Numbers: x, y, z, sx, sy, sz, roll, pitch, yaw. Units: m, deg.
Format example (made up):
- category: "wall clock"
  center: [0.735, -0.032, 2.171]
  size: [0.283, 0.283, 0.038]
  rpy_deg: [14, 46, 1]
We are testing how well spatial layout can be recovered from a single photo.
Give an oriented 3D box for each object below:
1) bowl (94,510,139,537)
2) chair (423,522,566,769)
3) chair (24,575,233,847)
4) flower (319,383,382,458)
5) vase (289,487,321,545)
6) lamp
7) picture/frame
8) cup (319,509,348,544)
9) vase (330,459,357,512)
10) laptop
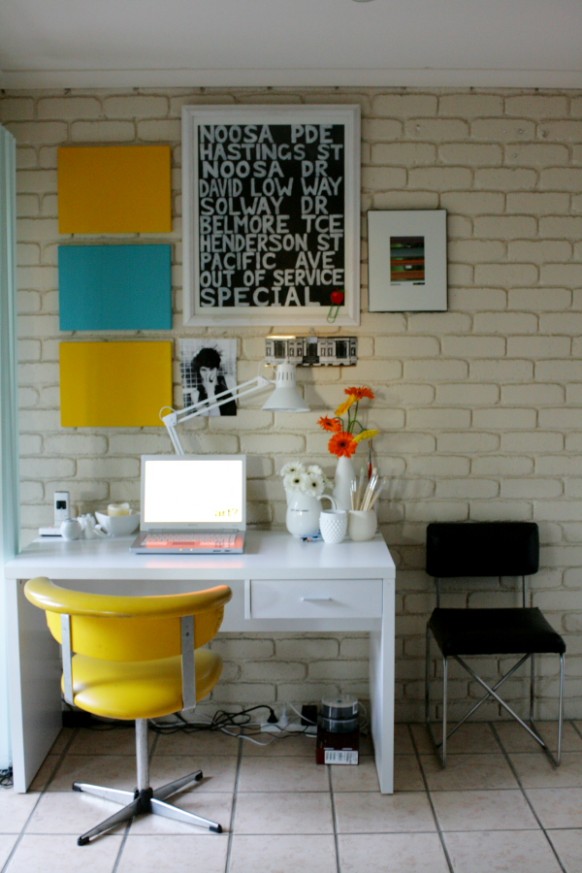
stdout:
- category: "bowl"
  center: [-0.599, 0.299, 3.034]
  size: [0.099, 0.050, 0.099]
  rpy_deg: [0, 0, 0]
- category: "chair"
  center: [0.731, 0.687, 3.013]
  size: [0.526, 0.740, 0.441]
  rpy_deg: [0, 10, -2]
- category: "chair"
  center: [-0.411, 0.732, 2.463]
  size: [0.520, 0.648, 0.534]
  rpy_deg: [-1, 1, 27]
- category: "flower"
  center: [0.192, -0.036, 3.057]
  size: [0.207, 0.255, 0.202]
  rpy_deg: [1, 10, 3]
- category: "vase"
  center: [0.042, 0.269, 2.959]
  size: [0.126, 0.155, 0.164]
  rpy_deg: [1, 4, -12]
- category: "lamp"
  center: [-0.200, -0.087, 3.032]
  size: [0.509, 0.329, 0.259]
  rpy_deg: [0, 10, -2]
- category: "picture/frame"
  center: [-0.075, -0.794, 3.063]
  size: [0.850, 0.915, 0.064]
  rpy_deg: [0, 2, -4]
- category: "cup"
  center: [0.138, 0.297, 2.887]
  size: [0.109, 0.103, 0.104]
  rpy_deg: [0, -4, 0]
- category: "vase"
  center: [0.177, 0.163, 2.988]
  size: [0.072, 0.174, 0.150]
  rpy_deg: [1, 10, 3]
- category: "laptop"
  center: [-0.341, 0.211, 2.903]
  size: [0.411, 0.293, 0.306]
  rpy_deg: [0, 4, -1]
